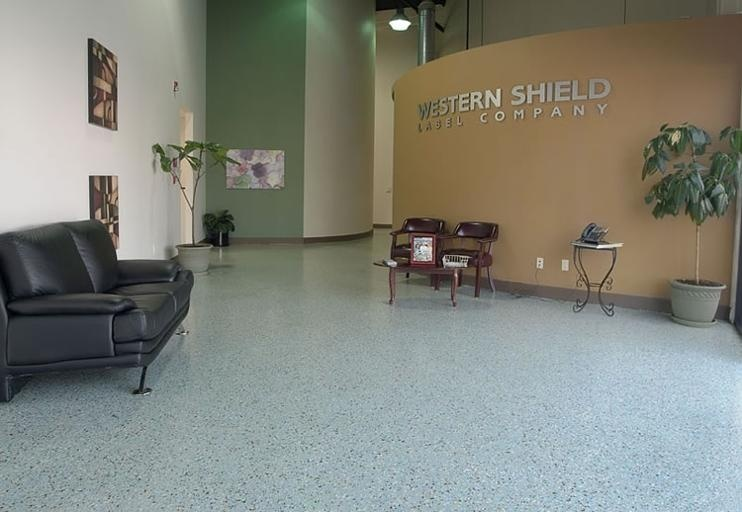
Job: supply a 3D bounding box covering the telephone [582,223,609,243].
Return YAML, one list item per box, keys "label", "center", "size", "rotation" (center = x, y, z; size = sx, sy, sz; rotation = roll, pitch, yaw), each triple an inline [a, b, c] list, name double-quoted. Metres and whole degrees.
- label: "telephone"
  center: [2.666, -0.304, 5.905]
  size: [0.273, 0.277, 0.116]
  rotation: [15, 42, 12]

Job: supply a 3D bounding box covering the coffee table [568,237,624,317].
- label: "coffee table"
  center: [2.738, 0.225, 6.039]
  size: [0.592, 0.880, 0.649]
  rotation: [6, 14, 23]

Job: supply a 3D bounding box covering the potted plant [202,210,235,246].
- label: "potted plant"
  center: [-3.541, -0.680, 11.612]
  size: [0.778, 0.764, 0.784]
  rotation: [0, 1, -8]

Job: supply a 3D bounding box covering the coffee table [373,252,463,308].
- label: "coffee table"
  center: [0.456, 0.285, 6.649]
  size: [0.907, 0.622, 1.567]
  rotation: [-5, 14, -22]

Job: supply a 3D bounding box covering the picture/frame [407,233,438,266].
- label: "picture/frame"
  center: [0.667, -0.093, 6.323]
  size: [0.443, 0.567, 0.056]
  rotation: [0, -6, 3]
